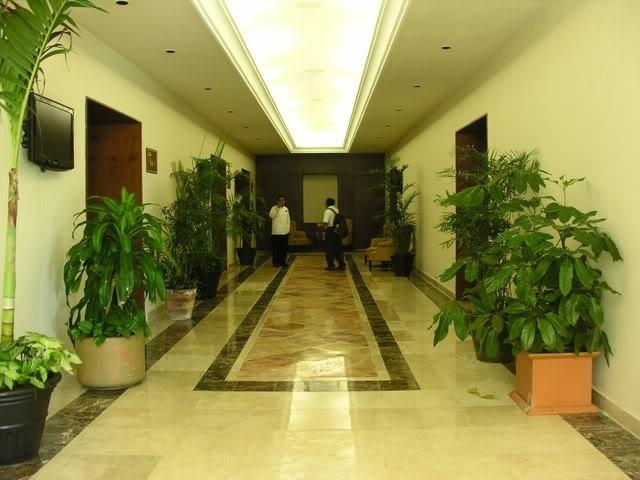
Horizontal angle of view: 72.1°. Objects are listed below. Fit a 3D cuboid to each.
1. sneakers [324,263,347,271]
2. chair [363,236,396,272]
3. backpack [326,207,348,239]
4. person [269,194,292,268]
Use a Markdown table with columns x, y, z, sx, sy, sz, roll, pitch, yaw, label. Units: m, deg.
| x | y | z | sx | sy | sz | roll | pitch | yaw | label |
| --- | --- | --- | --- | --- | --- | --- | --- | --- | --- |
| 0.422 | 0.729 | 11.472 | 0.535 | 0.260 | 0.193 | 4 | -5 | -6 | sneakers |
| 1.595 | 0.335 | 11.532 | 0.707 | 0.918 | 0.732 | 1 | 1 | 2 | chair |
| 0.508 | -0.354 | 11.173 | 0.624 | 0.711 | 0.478 | -3 | 1 | 5 | backpack |
| -1.089 | -0.215 | 12.093 | 0.482 | 1.887 | 0.673 | 0 | 3 | -3 | person |
